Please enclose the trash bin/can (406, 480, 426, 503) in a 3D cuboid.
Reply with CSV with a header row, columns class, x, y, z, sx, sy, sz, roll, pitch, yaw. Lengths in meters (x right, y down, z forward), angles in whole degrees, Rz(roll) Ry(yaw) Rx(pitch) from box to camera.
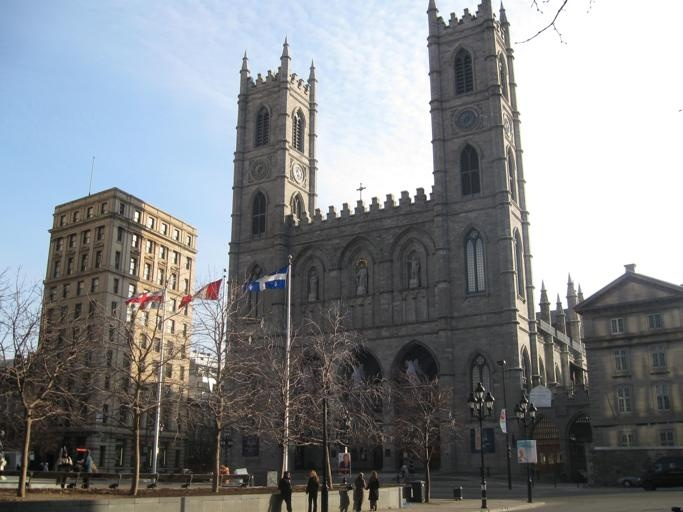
class,x,y,z,sx,sy,sz,roll,pitch,yaw
trash bin/can,4.275,13.773,40.126,1.107,1.187,1.736,-3,-21,5
